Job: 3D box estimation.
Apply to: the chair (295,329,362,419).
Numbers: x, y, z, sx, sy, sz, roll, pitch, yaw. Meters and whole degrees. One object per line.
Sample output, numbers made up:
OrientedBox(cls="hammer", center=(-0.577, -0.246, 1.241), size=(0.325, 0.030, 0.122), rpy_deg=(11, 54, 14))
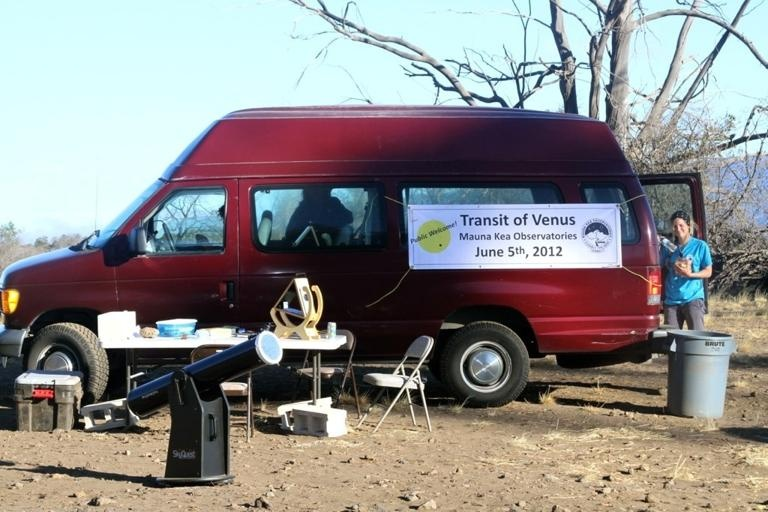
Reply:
OrientedBox(cls="chair", center=(-0.778, 1.595, 10.013), size=(0.695, 1.122, 0.702), rpy_deg=(-4, -4, 44))

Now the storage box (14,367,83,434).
OrientedBox(cls="storage box", center=(-4.212, 1.851, 9.691), size=(0.759, 0.606, 0.996), rpy_deg=(2, -2, -10))

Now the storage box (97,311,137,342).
OrientedBox(cls="storage box", center=(-3.212, 0.850, 9.178), size=(0.399, 0.270, 0.375), rpy_deg=(-2, 4, -41))
